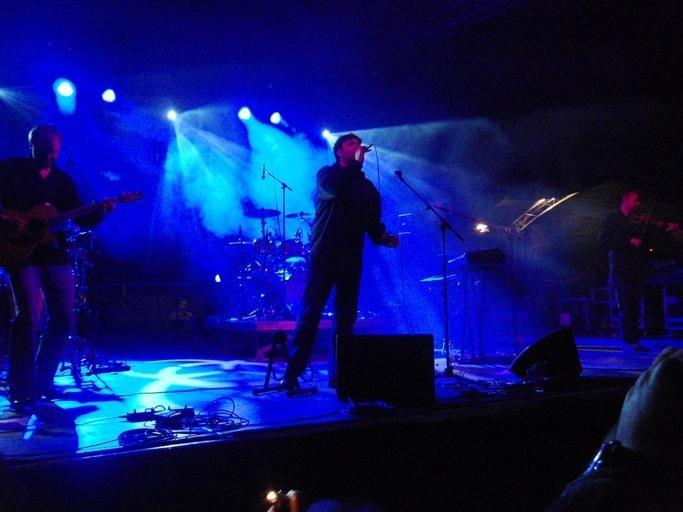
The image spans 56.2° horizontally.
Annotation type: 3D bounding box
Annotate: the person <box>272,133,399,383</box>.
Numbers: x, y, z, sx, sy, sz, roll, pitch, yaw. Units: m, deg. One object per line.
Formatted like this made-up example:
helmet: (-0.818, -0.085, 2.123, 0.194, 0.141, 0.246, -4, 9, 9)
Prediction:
person: (-0.052, 0.008, 6.515, 1.098, 2.561, 0.531, 0, -6, -7)

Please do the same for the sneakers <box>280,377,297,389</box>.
sneakers: (-0.497, 1.213, 6.176, 0.168, 0.107, 0.085, -1, -6, -4)

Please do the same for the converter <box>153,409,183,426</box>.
converter: (-1.387, 1.329, 5.246, 0.121, 0.086, 0.178, 0, 0, 29)
